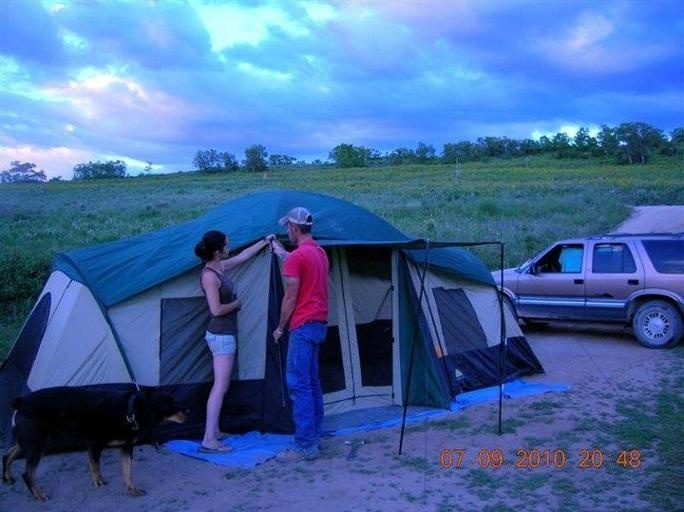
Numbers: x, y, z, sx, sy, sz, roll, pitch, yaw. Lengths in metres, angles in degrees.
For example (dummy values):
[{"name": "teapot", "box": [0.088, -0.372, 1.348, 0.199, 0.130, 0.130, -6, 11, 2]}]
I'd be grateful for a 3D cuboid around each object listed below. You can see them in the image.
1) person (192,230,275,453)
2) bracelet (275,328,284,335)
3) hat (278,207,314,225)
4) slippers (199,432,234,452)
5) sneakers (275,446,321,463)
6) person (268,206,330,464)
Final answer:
[{"name": "person", "box": [-1.425, 0.955, 6.126, 0.468, 2.525, 0.973, -1, 7, 11]}, {"name": "bracelet", "box": [-0.714, 0.871, 5.790, 0.067, 0.078, 0.089, 1, -9, -2]}, {"name": "hat", "box": [-0.528, -0.448, 5.852, 0.302, 0.175, 0.228, 6, 7, 26]}, {"name": "slippers", "box": [-1.468, 2.184, 5.887, 0.279, 0.131, 0.192, 0, -3, -8]}, {"name": "sneakers", "box": [-0.481, 2.194, 5.630, 0.459, 0.217, 0.175, 3, -7, -6]}, {"name": "person", "box": [-0.479, 0.861, 5.719, 0.534, 2.791, 0.643, 0, 7, 15]}]
